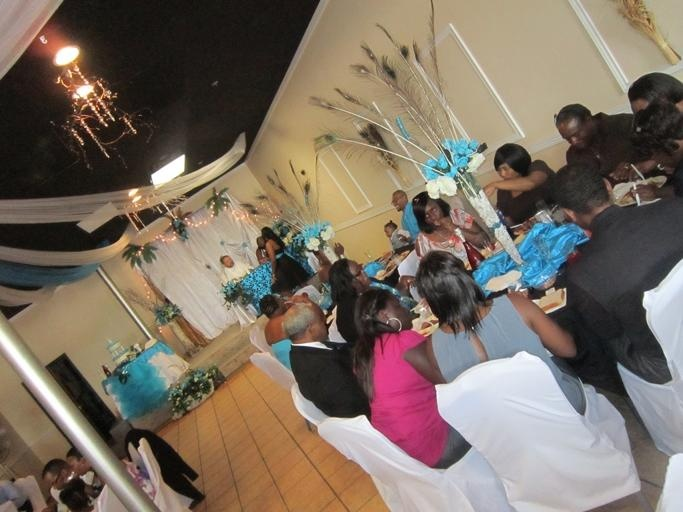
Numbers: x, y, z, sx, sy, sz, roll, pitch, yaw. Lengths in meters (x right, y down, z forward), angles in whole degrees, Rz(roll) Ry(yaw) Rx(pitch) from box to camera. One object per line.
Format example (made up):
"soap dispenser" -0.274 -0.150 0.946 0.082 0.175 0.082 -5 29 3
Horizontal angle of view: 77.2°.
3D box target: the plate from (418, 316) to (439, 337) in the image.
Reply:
"plate" 0.582 0.483 2.916 0.105 0.138 0.148 -3 -17 -20

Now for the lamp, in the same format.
"lamp" -2.507 -1.637 4.157 0.379 0.375 0.911 -29 -28 1

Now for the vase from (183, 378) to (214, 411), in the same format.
"vase" -2.562 2.486 7.659 0.478 0.242 0.474 -56 -18 -3

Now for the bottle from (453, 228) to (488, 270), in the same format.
"bottle" 0.963 -0.053 3.171 0.153 0.323 0.148 -37 -5 -4

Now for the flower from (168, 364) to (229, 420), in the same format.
"flower" -2.679 2.517 7.719 0.867 0.507 0.701 -34 0 10

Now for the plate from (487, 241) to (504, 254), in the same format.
"plate" 1.164 -0.059 3.257 0.101 0.031 0.113 -21 30 38
